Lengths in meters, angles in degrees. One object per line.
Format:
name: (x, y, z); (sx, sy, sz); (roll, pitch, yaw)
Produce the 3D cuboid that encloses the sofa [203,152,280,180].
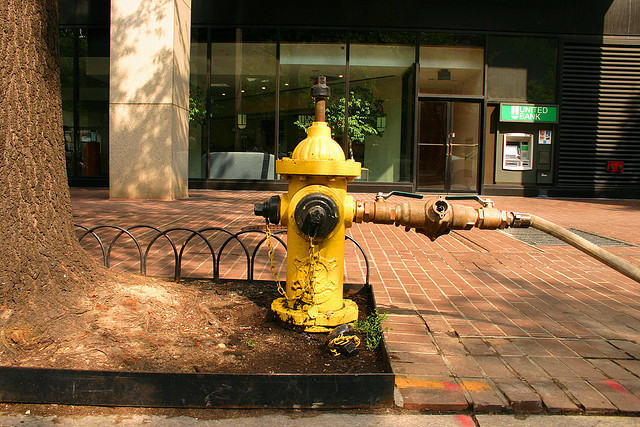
sofa: (-2.446, -1.503, 17.683); (2.466, 0.883, 1.646); (0, 1, 3)
